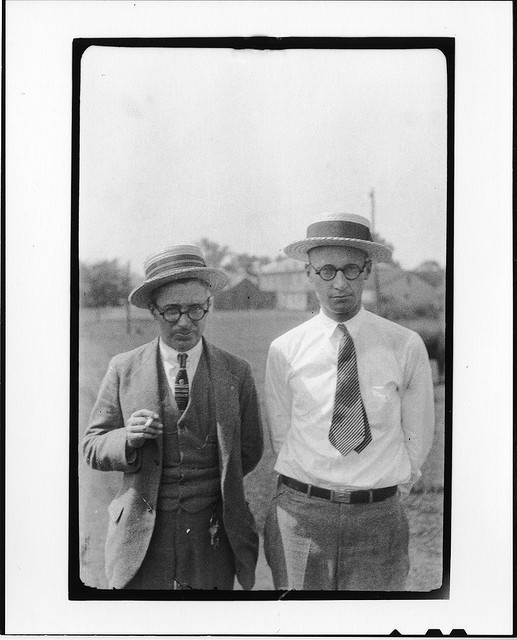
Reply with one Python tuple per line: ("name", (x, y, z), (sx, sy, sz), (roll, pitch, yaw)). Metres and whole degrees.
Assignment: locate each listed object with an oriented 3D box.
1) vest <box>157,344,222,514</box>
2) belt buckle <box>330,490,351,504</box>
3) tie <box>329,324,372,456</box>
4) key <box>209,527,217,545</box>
("vest", (-0.330, 0.492, 7.695), (0.317, 0.133, 0.886), (4, -45, 4))
("belt buckle", (0.370, 0.802, 7.695), (0.093, 0.059, 0.017), (-1, -4, -2))
("tie", (0.420, 0.306, 7.758), (0.188, 0.683, 0.048), (0, -31, -2))
("key", (-0.203, 0.983, 7.710), (0.034, 0.075, 0.019), (-2, -4, 8))
